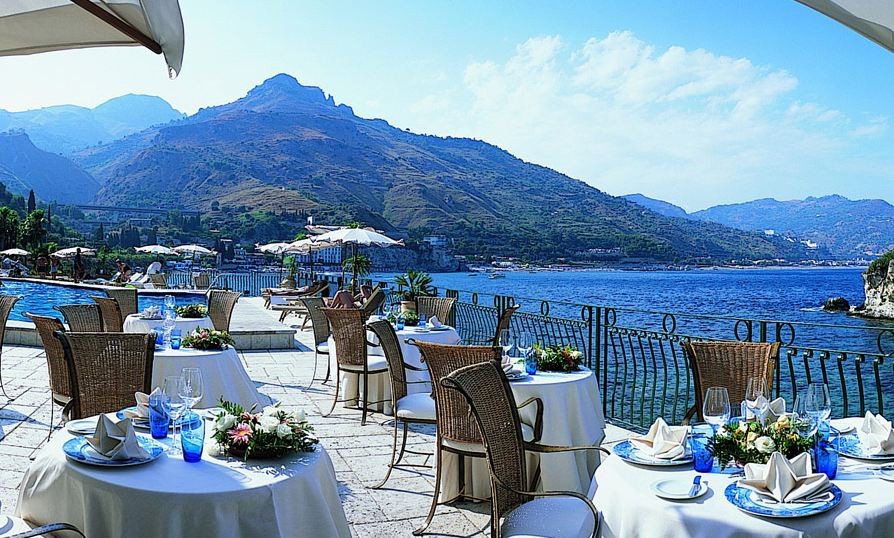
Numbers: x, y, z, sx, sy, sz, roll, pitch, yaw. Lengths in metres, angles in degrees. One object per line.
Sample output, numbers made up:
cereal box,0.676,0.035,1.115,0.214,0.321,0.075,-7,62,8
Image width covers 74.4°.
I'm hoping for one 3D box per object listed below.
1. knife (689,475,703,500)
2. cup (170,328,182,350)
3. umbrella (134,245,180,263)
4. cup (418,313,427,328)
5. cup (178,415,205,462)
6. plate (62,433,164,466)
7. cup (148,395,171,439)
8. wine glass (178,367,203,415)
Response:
knife,1.497,1.321,3.543,0.051,0.020,0.208,5,13,27
cup,-3.080,0.804,6.667,0.102,0.150,0.187,1,-2,-10
umbrella,-25.864,-1.136,51.809,4.351,1.489,4.080,4,7,-23
cup,-0.359,0.781,8.665,0.175,0.240,0.162,-2,4,0
cup,-1.645,1.094,3.798,0.137,0.305,0.176,2,-2,-22
plate,-2.171,1.163,3.818,0.611,0.134,0.423,2,-2,-18
cup,-1.962,1.016,3.999,0.111,0.325,0.157,2,-1,-26
wine glass,-1.721,0.821,3.942,0.130,0.291,0.203,2,-2,-19
